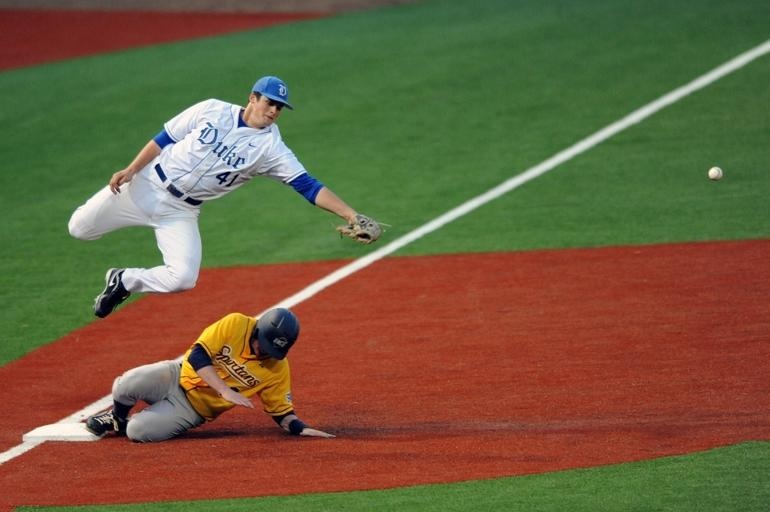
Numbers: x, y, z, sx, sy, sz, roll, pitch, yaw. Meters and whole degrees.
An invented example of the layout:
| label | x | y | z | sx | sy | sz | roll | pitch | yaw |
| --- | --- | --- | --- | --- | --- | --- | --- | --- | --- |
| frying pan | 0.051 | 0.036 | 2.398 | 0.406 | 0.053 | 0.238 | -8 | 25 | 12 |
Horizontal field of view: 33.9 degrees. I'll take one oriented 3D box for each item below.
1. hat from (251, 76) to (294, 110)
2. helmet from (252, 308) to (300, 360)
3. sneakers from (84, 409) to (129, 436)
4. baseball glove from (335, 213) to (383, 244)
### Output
| label | x | y | z | sx | sy | sz | roll | pitch | yaw |
| --- | --- | --- | --- | --- | --- | --- | --- | --- | --- |
| hat | -1.294 | -1.876 | 14.301 | 0.415 | 0.259 | 0.507 | 10 | 4 | -5 |
| helmet | -1.156 | 0.850 | 13.704 | 0.502 | 0.546 | 0.393 | 24 | -40 | -32 |
| sneakers | -3.085 | 1.848 | 13.828 | 0.490 | 0.221 | 0.206 | 1 | -14 | -19 |
| baseball glove | -0.270 | -0.276 | 13.768 | 0.473 | 0.184 | 0.310 | 19 | 17 | 4 |
